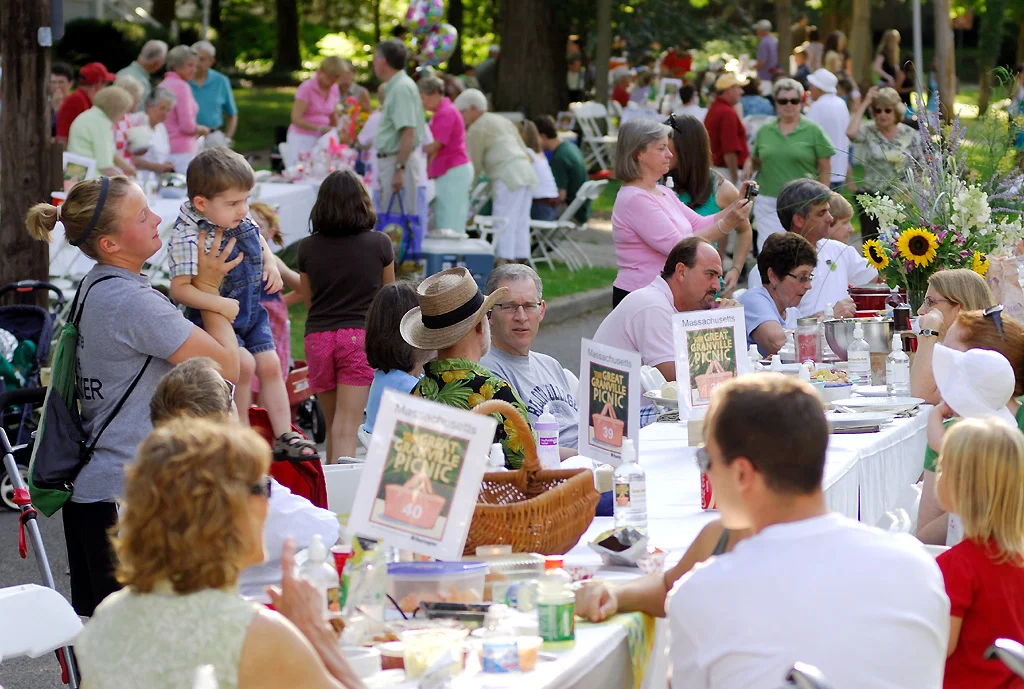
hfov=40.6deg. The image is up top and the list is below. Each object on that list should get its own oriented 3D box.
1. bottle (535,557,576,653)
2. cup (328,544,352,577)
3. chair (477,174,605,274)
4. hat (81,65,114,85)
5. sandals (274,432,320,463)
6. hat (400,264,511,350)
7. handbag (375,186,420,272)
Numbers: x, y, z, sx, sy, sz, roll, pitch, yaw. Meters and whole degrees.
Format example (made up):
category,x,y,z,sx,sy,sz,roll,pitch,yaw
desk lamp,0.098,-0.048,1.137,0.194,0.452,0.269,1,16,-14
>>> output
category,x,y,z,sx,sy,sz,roll,pitch,yaw
bottle,0.175,0.993,5.370,0.144,0.322,0.142,1,1,0
cup,-0.685,0.863,5.589,0.089,0.114,0.090,1,10,0
chair,0.442,-1.321,16.711,0.964,0.923,0.580,-2,-11,3
hat,-4.367,-2.824,14.628,0.328,0.184,0.242,-1,41,-22
sandals,-1.110,0.532,7.223,0.273,0.117,0.121,-3,-1,42
hat,-0.340,-0.183,6.895,0.464,0.413,0.437,1,1,9
handbag,-1.076,-1.108,13.448,0.450,0.690,0.354,1,1,-6
